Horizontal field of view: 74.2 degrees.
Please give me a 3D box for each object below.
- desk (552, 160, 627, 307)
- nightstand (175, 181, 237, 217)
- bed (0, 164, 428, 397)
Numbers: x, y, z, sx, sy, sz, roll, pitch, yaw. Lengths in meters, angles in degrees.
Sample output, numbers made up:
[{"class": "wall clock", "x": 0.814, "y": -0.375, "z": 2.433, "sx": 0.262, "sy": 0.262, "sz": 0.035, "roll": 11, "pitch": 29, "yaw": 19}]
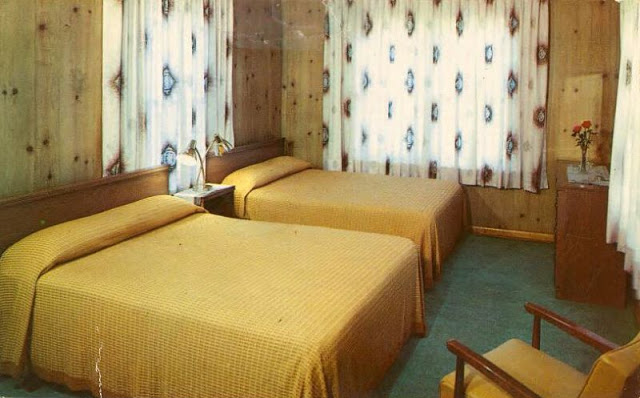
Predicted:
[{"class": "desk", "x": 2.550, "y": 0.388, "z": 4.013, "sx": 0.518, "sy": 1.102, "sz": 1.274, "roll": 3, "pitch": 11, "yaw": 24}, {"class": "nightstand", "x": -1.276, "y": 0.078, "z": 4.840, "sx": 0.358, "sy": 0.455, "sz": 0.639, "roll": 6, "pitch": 17, "yaw": 20}, {"class": "bed", "x": -0.850, "y": 0.617, "z": 3.221, "sx": 3.008, "sy": 1.339, "sz": 1.449, "roll": 3, "pitch": 11, "yaw": 10}]
